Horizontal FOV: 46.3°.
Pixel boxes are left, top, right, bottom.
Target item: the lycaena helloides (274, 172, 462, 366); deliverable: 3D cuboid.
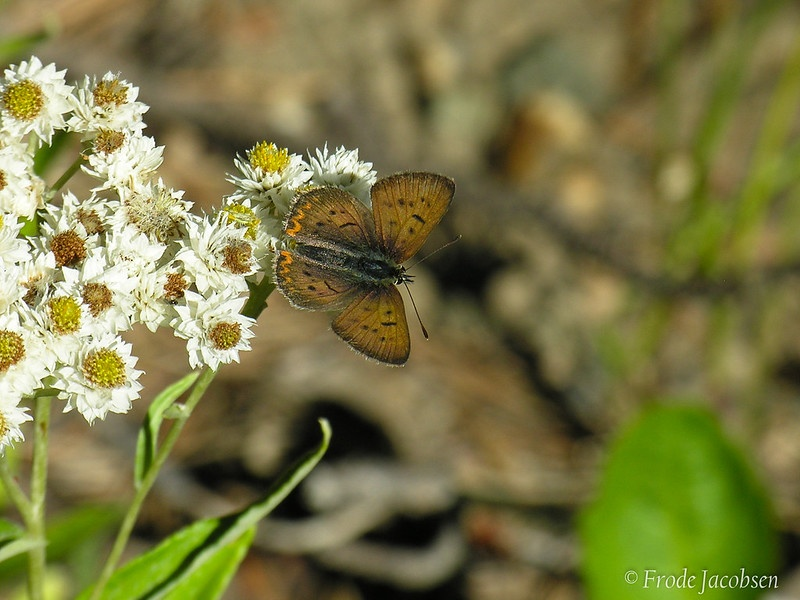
[{"bbox_3d":[-0.067,-0.030,1.332,0.294,0.112,0.300,-5,-66,-28],"label":"lycaena helloides"}]
